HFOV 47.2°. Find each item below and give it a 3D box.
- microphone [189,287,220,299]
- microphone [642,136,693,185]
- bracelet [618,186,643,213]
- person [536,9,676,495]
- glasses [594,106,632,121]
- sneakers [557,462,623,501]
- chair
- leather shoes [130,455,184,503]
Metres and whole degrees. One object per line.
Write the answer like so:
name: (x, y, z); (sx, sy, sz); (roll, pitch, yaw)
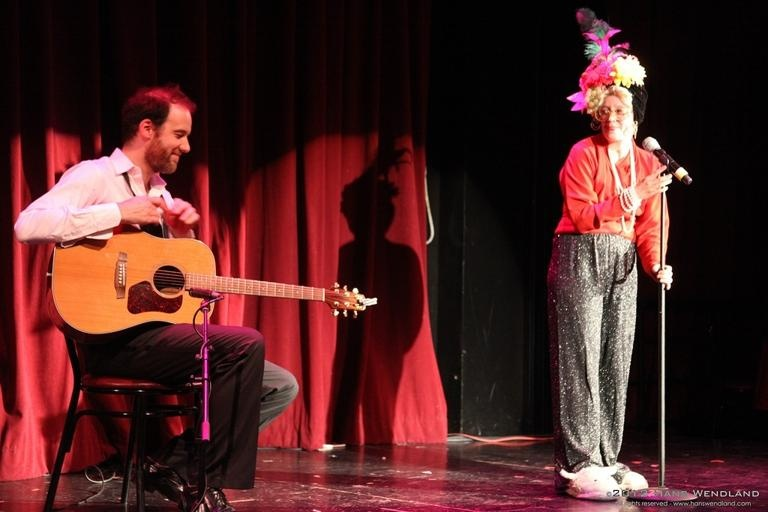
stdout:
microphone: (-0.826, 0.172, 4.008); (0.111, 0.029, 0.031); (12, 40, 27)
microphone: (1.424, -0.445, 4.455); (0.206, 0.231, 0.425); (-1, -8, 17)
bracelet: (1.210, -0.272, 4.328); (0.066, 0.113, 0.121); (-11, 27, -1)
person: (1.124, -0.067, 4.487); (0.593, 2.545, 0.347); (-2, -8, 21)
glasses: (1.175, -0.737, 4.472); (0.158, 0.120, 0.047); (-1, -8, 14)
sneakers: (1.026, 1.129, 4.398); (0.321, 0.167, 0.151); (-1, -8, 12)
chair: (-1.289, 0.813, 4.286); (0.650, 0.807, 1.100); (5, -9, -27)
leather shoes: (-1.022, 1.039, 4.108); (0.160, 0.121, 0.405); (-1, -21, 36)
